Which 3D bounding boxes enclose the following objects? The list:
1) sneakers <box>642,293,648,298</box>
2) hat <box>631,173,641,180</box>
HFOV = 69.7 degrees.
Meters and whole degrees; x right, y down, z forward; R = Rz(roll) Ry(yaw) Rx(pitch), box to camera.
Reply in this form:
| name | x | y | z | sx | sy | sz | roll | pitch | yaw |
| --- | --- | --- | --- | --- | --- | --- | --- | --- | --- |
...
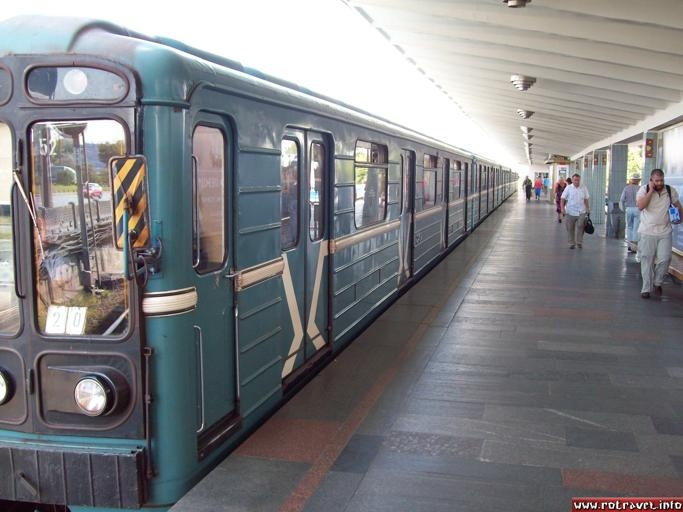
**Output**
| name | x | y | z | sx | sy | sz | roll | pitch | yaw |
| --- | --- | --- | --- | --- | --- | --- | --- | --- | --- |
| sneakers | 5.908 | 0.767 | 9.588 | 0.109 | 0.114 | 0.077 | -1 | 0 | 37 |
| hat | 7.718 | -2.087 | 12.870 | 0.171 | 0.075 | 0.166 | -2 | 17 | 31 |
